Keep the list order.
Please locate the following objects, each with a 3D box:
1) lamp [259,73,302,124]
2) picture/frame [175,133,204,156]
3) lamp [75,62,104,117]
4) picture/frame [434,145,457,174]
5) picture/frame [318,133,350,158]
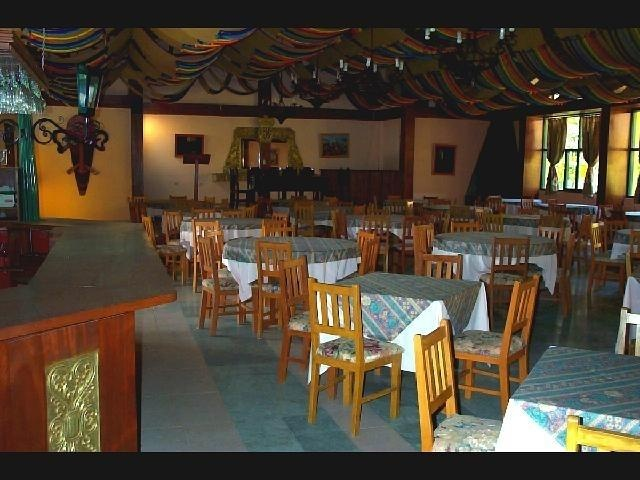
[{"bbox_3d":[-1.329,-4.058,15.220,1.092,1.243,0.838,2,9,10],"label":"lamp"},{"bbox_3d":[-3.754,-2.686,14.887,0.819,0.649,0.249,-1,10,-12],"label":"picture/frame"},{"bbox_3d":[-1.863,-1.196,4.195,0.192,0.398,0.259,-4,10,-23],"label":"lamp"},{"bbox_3d":[3.938,-2.566,16.477,0.942,0.924,0.101,-2,9,-19],"label":"picture/frame"},{"bbox_3d":[0.394,-2.964,16.350,0.845,0.587,0.059,-2,13,-12],"label":"picture/frame"}]
